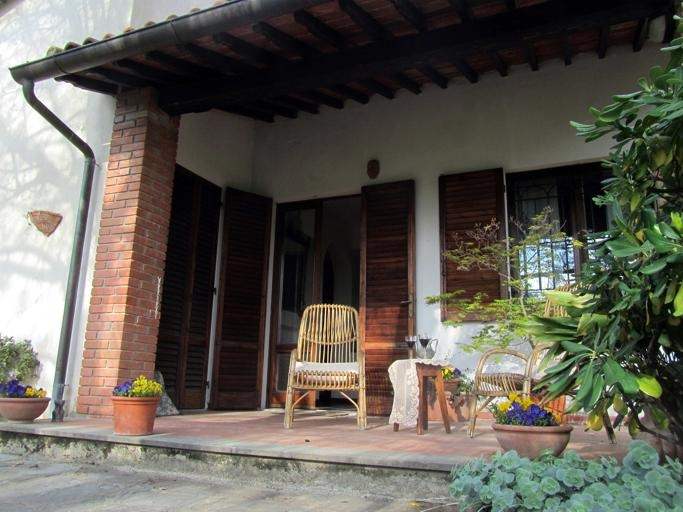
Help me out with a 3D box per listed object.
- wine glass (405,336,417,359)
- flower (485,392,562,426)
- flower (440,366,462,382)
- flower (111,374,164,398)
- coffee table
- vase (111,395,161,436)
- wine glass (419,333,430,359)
[{"bbox_3d":[0.628,0.814,4.218,0.078,0.206,0.314,-3,-13,9],"label":"wine glass"},{"bbox_3d":[0.955,0.800,2.431,0.328,0.143,0.271,-8,-15,27],"label":"flower"},{"bbox_3d":[1.177,1.257,4.978,0.209,0.127,0.226,3,-7,-8],"label":"flower"},{"bbox_3d":[-1.494,0.946,3.378,0.298,0.181,0.308,3,-8,-22],"label":"flower"},{"bbox_3d":[0.584,1.185,4.096,0.530,0.774,0.630,2,-7,-5],"label":"coffee table"},{"bbox_3d":[-1.432,1.090,3.257,0.250,0.196,0.268,-3,-27,2],"label":"vase"},{"bbox_3d":[0.730,0.795,4.131,0.117,0.288,0.124,-4,-21,15],"label":"wine glass"}]
